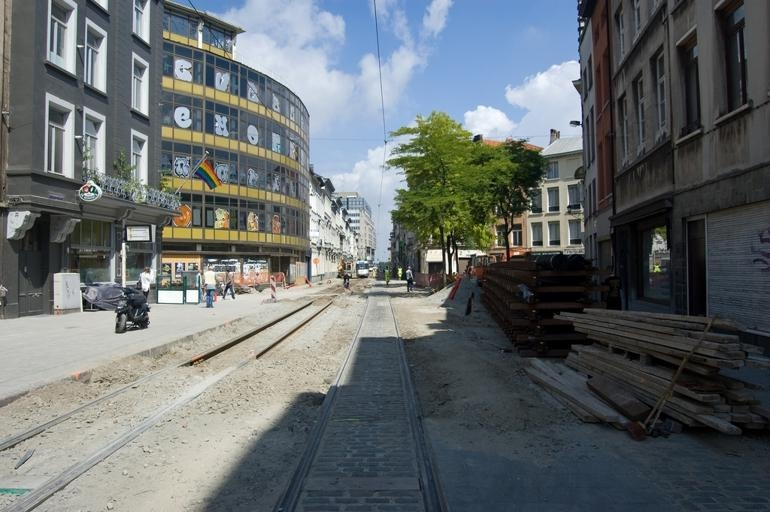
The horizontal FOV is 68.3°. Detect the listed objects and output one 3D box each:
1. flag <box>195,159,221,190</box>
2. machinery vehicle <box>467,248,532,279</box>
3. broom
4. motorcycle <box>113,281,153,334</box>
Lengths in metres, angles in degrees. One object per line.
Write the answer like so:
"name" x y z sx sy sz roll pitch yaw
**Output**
"flag" -10.065 -4.623 32.089 1.068 1.624 2.039 -2 11 -18
"machinery vehicle" 6.167 0.325 31.311 2.123 1.591 3.168 1 -4 -35
"broom" 5.254 2.565 10.751 0.255 1.941 0.359 34 2 0
"motorcycle" -8.021 1.669 18.023 0.546 1.223 1.760 0 -1 -1
